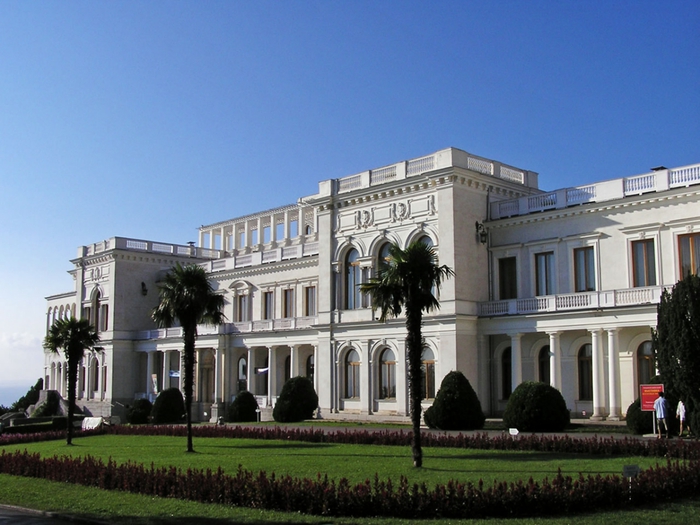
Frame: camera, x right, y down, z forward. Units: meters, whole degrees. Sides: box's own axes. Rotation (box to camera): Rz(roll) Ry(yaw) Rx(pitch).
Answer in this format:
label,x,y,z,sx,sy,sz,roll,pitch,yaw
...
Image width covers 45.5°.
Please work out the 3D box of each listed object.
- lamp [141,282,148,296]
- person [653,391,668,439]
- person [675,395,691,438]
label,x,y,z,sx,sy,sz,roll,pitch,yaw
lamp,-17.289,2.142,69.719,0.617,1.169,0.188,10,-14,-43
person,11.898,5.796,31.934,0.511,1.703,1.690,-4,-12,20
person,12.658,5.878,31.802,0.447,1.438,1.046,-4,-12,23
